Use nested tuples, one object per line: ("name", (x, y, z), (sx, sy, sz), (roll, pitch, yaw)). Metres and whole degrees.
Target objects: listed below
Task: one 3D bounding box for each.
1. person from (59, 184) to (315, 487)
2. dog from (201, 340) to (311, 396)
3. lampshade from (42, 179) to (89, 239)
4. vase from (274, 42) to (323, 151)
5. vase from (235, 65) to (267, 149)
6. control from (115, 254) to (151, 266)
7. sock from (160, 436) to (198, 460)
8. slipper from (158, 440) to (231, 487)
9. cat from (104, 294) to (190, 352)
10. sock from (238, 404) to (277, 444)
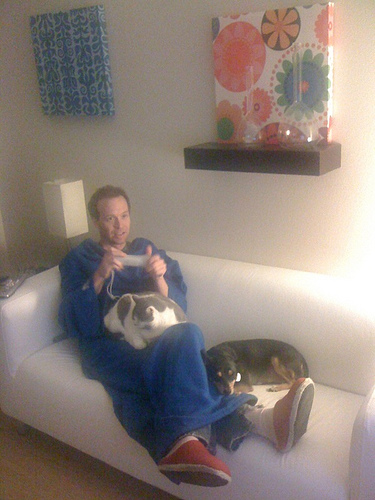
("person", (-0.081, 0.208, 1.234), (0.399, 0.505, 0.856), (-10, 20, -32))
("dog", (0.168, 0.358, 1.269), (0.378, 0.155, 0.142), (-2, -12, -27))
("lampshade", (-0.575, -0.192, 2.069), (0.158, 0.306, 0.155), (23, 28, 39))
("vase", (0.327, -0.450, 1.255), (0.140, 0.296, 0.208), (1, 19, 11))
("vase", (0.204, -0.460, 1.376), (0.102, 0.251, 0.219), (-1, 18, 6))
("control", (-0.178, 0.040, 1.449), (0.075, 0.041, 0.018), (0, -9, -19))
("sock", (-0.017, 0.444, 0.981), (0.033, 0.042, 0.106), (-8, -9, 27))
("slipper", (0.019, 0.479, 0.989), (0.220, 0.107, 0.101), (-26, 37, 41))
("cat", (-0.125, 0.199, 1.344), (0.151, 0.095, 0.226), (-9, 13, -30))
("sock", (0.174, 0.411, 1.024), (0.100, 0.063, 0.100), (4, 16, 9))
